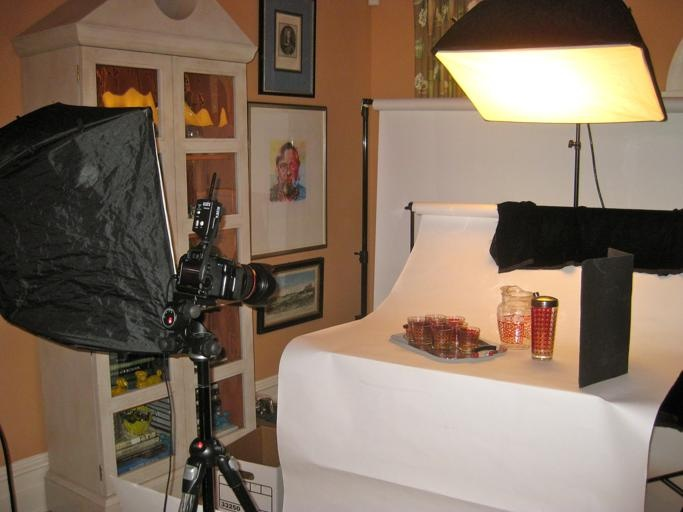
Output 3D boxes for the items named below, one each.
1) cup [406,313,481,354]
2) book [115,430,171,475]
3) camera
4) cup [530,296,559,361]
[{"bbox_3d":[0.334,0.264,2.065,0.126,0.070,0.177,-9,9,-37],"label":"cup"},{"bbox_3d":[-0.921,0.904,2.851,0.176,0.102,0.199,6,10,41],"label":"book"},{"bbox_3d":[-0.321,-0.005,1.784,0.133,0.299,0.278,-1,-8,38],"label":"camera"},{"bbox_3d":[0.652,0.227,1.986,0.076,0.205,0.155,1,4,17],"label":"cup"}]
